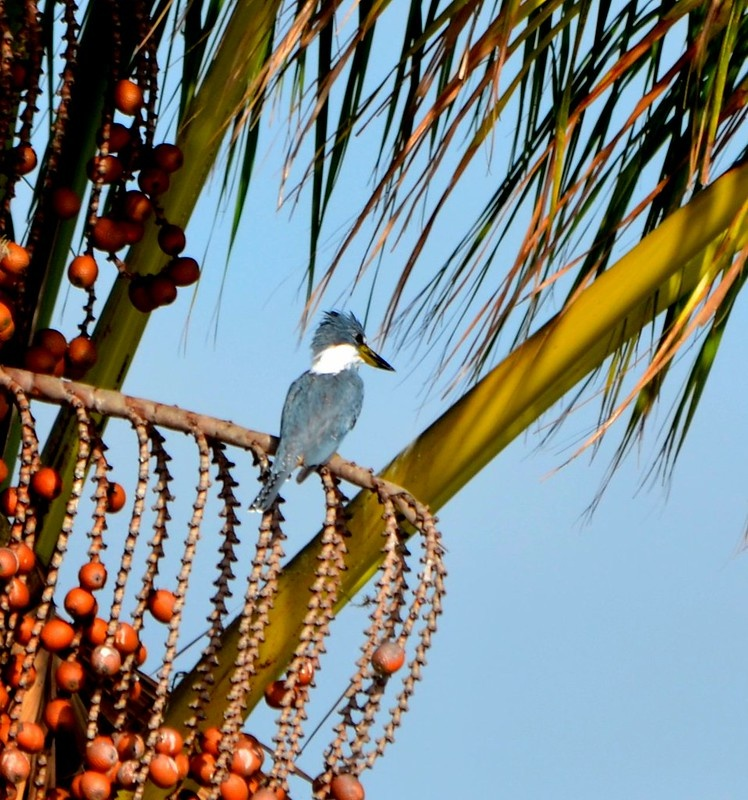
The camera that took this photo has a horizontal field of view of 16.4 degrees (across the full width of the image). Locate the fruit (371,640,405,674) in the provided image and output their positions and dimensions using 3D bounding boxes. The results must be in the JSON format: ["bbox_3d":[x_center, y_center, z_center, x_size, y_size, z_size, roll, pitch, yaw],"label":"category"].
[{"bbox_3d":[0.031,0.607,6.062,0.079,0.068,0.054,35,15,11],"label":"fruit"}]

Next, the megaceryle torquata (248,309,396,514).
[{"bbox_3d":[-0.193,0.018,7.690,0.197,0.619,0.858,-4,1,22],"label":"megaceryle torquata"}]
